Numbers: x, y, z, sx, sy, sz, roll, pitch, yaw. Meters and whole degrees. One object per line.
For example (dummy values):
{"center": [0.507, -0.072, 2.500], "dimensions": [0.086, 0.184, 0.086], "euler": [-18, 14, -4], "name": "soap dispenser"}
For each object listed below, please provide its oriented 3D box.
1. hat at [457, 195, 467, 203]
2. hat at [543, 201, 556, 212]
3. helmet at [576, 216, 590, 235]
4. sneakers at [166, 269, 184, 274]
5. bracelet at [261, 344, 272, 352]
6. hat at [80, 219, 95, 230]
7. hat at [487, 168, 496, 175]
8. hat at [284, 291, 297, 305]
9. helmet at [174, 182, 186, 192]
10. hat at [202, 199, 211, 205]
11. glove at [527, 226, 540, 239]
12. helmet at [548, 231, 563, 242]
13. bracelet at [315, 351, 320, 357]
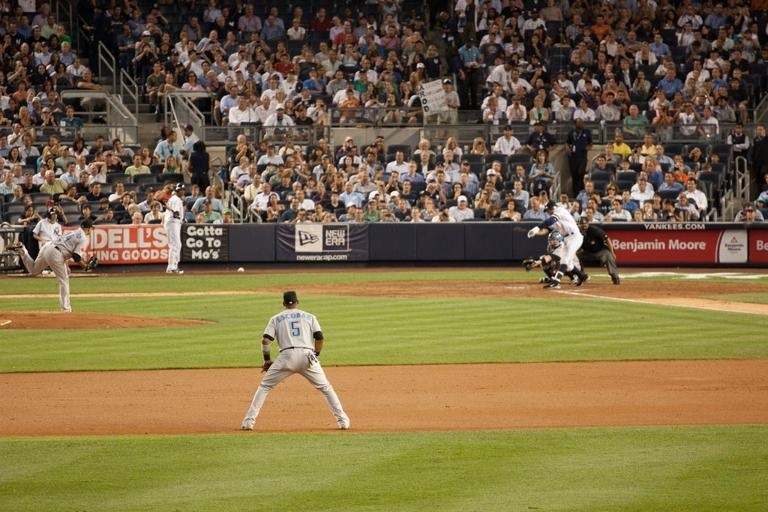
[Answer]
{"center": [2.618, -1.991, 56.756], "dimensions": [0.305, 0.250, 0.479], "euler": [0, 0, 2], "name": "hat"}
{"center": [4.986, -1.539, 51.032], "dimensions": [0.402, 0.353, 0.277], "euler": [7, 9, 12], "name": "hat"}
{"center": [6.127, -1.008, 51.653], "dimensions": [0.379, 0.505, 0.541], "euler": [0, 1, 4], "name": "helmet"}
{"center": [-6.990, 0.469, 55.932], "dimensions": [0.613, 0.225, 0.192], "euler": [5, 0, -6], "name": "sneakers"}
{"center": [-2.820, 2.137, 39.773], "dimensions": [0.247, 0.157, 0.229], "euler": [1, 1, 3], "name": "bracelet"}
{"center": [-8.442, -0.932, 47.600], "dimensions": [0.313, 0.318, 0.360], "euler": [3, 12, 1], "name": "hat"}
{"center": [3.642, -2.895, 56.897], "dimensions": [0.305, 0.233, 0.271], "euler": [0, 1, 3], "name": "hat"}
{"center": [-2.246, 0.947, 39.766], "dimensions": [0.285, 0.301, 0.328], "euler": [1, -5, -6], "name": "hat"}
{"center": [-6.869, -2.381, 56.564], "dimensions": [0.342, 0.409, 0.380], "euler": [2, 2, -10], "name": "helmet"}
{"center": [-5.968, -1.867, 56.527], "dimensions": [0.236, 0.180, 0.211], "euler": [0, 1, -13], "name": "hat"}
{"center": [4.513, -0.771, 50.627], "dimensions": [0.356, 0.147, 0.356], "euler": [-16, -1, 43], "name": "glove"}
{"center": [5.251, -0.658, 51.191], "dimensions": [0.486, 0.321, 0.384], "euler": [0, 1, 22], "name": "helmet"}
{"center": [-1.586, 2.282, 39.901], "dimensions": [0.173, 0.141, 0.153], "euler": [-2, 2, -5], "name": "bracelet"}
